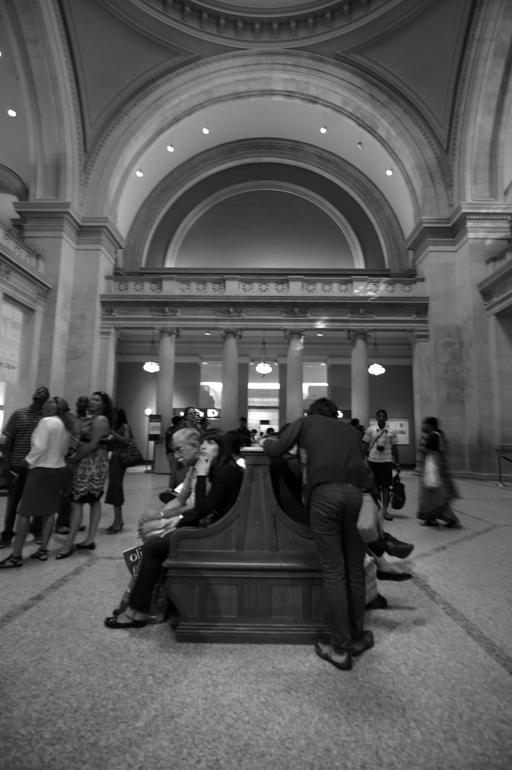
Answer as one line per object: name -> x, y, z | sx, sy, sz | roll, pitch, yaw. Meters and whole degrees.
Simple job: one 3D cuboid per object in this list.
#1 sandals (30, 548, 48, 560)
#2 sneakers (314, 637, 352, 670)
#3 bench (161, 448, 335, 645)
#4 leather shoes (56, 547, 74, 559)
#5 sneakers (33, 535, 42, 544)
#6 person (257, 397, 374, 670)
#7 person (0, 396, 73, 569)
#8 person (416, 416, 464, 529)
sandals -> -1.991, 1.586, 4.248 | 0.074, 0.107, 0.232 | 3, -5, -5
sneakers -> 0.392, 1.377, 2.287 | 0.074, 0.104, 0.228 | -2, -1, -14
bench -> -0.016, 0.803, 2.951 | 1.218, 1.341, 0.754 | 0, -6, 0
leather shoes -> -1.795, 1.619, 4.318 | 0.058, 0.069, 0.168 | -6, -11, 23
sneakers -> -2.388, 1.716, 5.003 | 0.080, 0.103, 0.223 | 3, -11, -20
person -> 0.378, 0.753, 2.575 | 0.532, 1.409, 0.679 | -3, -10, 12
person -> -2.058, 0.900, 4.378 | 0.504, 1.571, 0.849 | 4, -6, -23
person -> 2.556, 1.230, 6.349 | 0.541, 1.537, 0.896 | 0, -6, 20
